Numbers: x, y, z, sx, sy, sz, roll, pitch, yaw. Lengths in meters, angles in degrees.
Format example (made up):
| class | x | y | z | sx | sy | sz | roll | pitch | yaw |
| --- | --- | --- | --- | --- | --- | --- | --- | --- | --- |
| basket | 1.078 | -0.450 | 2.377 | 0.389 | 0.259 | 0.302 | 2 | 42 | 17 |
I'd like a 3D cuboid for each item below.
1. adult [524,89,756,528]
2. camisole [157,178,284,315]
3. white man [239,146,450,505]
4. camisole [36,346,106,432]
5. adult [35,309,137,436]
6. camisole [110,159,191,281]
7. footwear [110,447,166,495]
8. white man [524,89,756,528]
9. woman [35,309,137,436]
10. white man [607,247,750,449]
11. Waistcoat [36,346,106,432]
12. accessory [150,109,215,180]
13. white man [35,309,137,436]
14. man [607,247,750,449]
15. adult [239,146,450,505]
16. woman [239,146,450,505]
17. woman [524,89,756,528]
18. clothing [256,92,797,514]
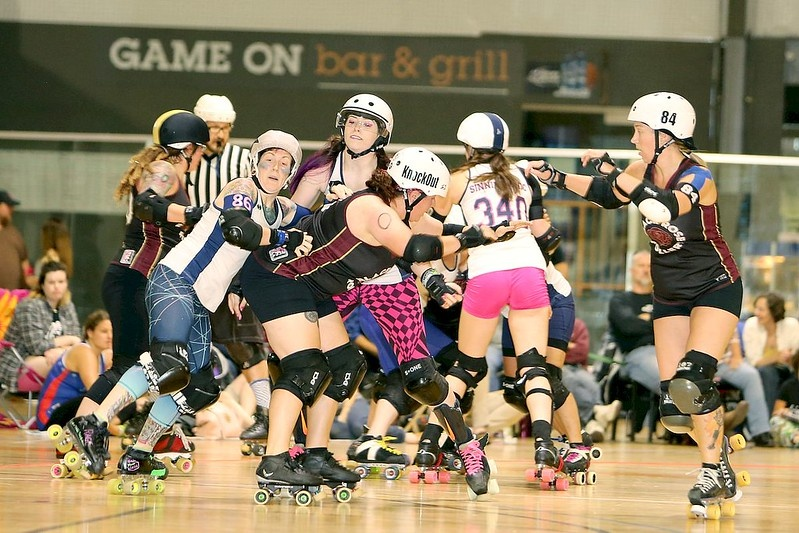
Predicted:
| class | x | y | z | sx | sy | sz | roll | pitch | yaw |
| --- | --- | --- | --- | --- | --- | --- | --- | --- | --- |
| adult | 2.023 | 0.215 | 7.665 | 1.196 | 3.284 | 0.757 | 1 | -1 | 22 |
| camisole | -1.363 | -0.343 | 7.596 | 0.704 | 0.635 | 1.079 | 9 | -29 | -27 |
| white man | -0.340 | 0.397 | 7.823 | 1.681 | 2.772 | 1.124 | 6 | 13 | -8 |
| camisole | -3.162 | 1.198 | 9.641 | 0.508 | 0.858 | 0.576 | 21 | 3 | -18 |
| adult | -2.999 | 1.054 | 9.507 | 0.978 | 1.896 | 0.681 | -1 | 21 | -25 |
| camisole | -2.066 | -0.458 | 8.453 | 0.465 | 0.834 | 0.615 | 25 | 32 | 9 |
| footwear | -1.968 | 1.644 | 7.838 | 0.207 | 0.422 | 0.661 | 0 | -12 | 31 |
| white man | 2.019 | 0.215 | 7.660 | 1.205 | 3.284 | 0.744 | 1 | -1 | 21 |
| woman | -2.999 | 1.054 | 9.507 | 0.978 | 1.896 | 0.681 | -1 | 21 | -25 |
| white man | 3.617 | 0.634 | 11.991 | 1.191 | 2.372 | 1.554 | -1 | -1 | -19 |
| Waistcoat | -3.162 | 1.198 | 9.641 | 0.508 | 0.858 | 0.576 | 21 | 3 | -18 |
| accessory | -1.888 | -1.131 | 8.533 | 0.401 | 0.503 | 0.379 | -1 | 17 | -21 |
| white man | -2.999 | 1.054 | 9.507 | 0.978 | 1.896 | 0.681 | -1 | 21 | -25 |
| man | 3.405 | 0.664 | 12.710 | 1.191 | 2.372 | 1.554 | -1 | -1 | -19 |
| adult | -0.345 | 0.415 | 7.804 | 1.649 | 2.757 | 1.066 | 5 | 12 | -10 |
| woman | -0.341 | 0.414 | 7.802 | 1.644 | 2.796 | 1.113 | 7 | 11 | -5 |
| woman | 2.024 | 0.215 | 7.661 | 1.191 | 3.284 | 0.751 | 1 | -1 | 22 |
| clothing | 1.862 | 0.092 | 9.109 | 3.238 | 3.935 | 2.132 | 3 | -4 | -3 |
